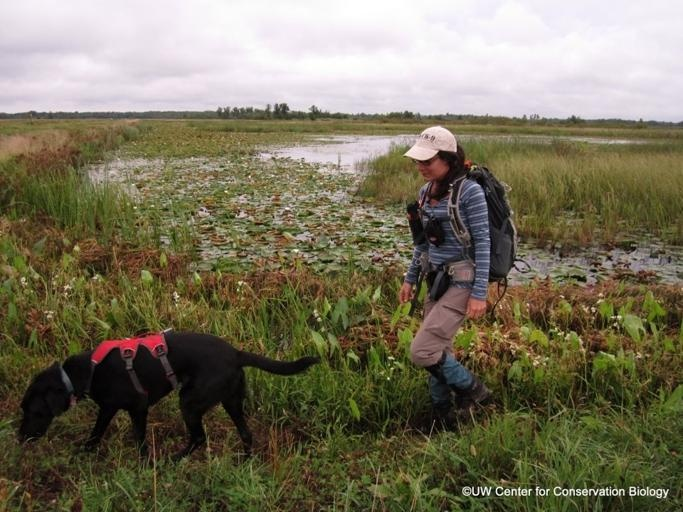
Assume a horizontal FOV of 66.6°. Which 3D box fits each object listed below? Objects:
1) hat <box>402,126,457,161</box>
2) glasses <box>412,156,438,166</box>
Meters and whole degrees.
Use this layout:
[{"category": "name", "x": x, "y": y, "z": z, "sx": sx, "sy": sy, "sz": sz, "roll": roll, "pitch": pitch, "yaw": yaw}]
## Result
[{"category": "hat", "x": 0.788, "y": -1.008, "z": 4.578, "sx": 0.390, "sy": 0.262, "sz": 0.289, "roll": -9, "pitch": 22, "yaw": -21}, {"category": "glasses", "x": 0.739, "y": -0.831, "z": 4.548, "sx": 0.125, "sy": 0.042, "sz": 0.118, "roll": -22, "pitch": 28, "yaw": -39}]
